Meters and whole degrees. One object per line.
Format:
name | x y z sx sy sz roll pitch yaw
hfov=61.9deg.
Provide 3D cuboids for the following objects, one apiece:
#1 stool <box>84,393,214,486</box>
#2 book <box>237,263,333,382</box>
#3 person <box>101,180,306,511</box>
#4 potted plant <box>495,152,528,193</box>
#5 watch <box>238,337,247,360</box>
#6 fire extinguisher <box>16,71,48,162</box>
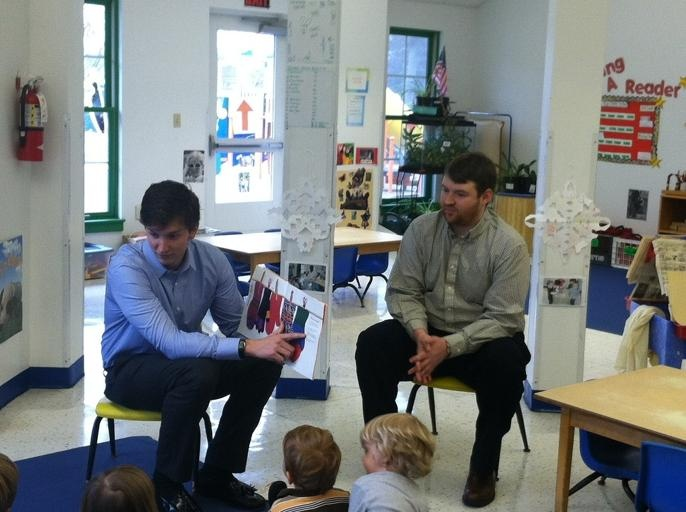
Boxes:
stool | -0.990 0.882 2.907 0.476 0.606 0.598 8 -6 -27
book | -0.294 0.353 3.002 0.650 0.492 0.058 28 14 37
person | -0.719 0.422 2.729 0.735 1.523 0.685 -6 13 -35
potted plant | 2.729 -1.309 9.174 0.580 0.679 0.571 -1 6 -17
watch | -0.467 0.426 2.672 0.047 0.075 0.073 4 12 -3
fire extinguisher | -2.057 -0.900 3.782 0.188 0.558 0.234 -2 11 -16
